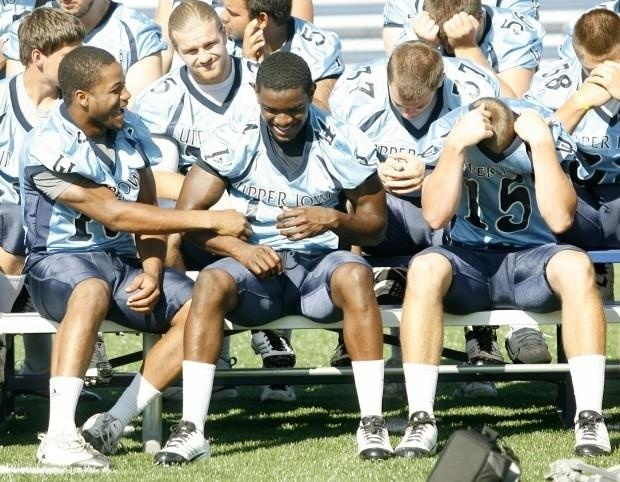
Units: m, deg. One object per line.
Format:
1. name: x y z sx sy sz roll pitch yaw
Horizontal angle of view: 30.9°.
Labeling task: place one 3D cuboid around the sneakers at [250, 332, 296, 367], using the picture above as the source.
1. sneakers: -0.194 0.518 5.623 0.102 0.148 0.300 -11 11 -26

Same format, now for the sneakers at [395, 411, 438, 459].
1. sneakers: 0.465 0.772 4.597 0.114 0.179 0.250 -4 -6 41

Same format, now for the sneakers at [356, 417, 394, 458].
1. sneakers: 0.269 0.787 4.596 0.144 0.166 0.206 0 -5 1

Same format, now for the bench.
1. bench: -0.011 -0.020 5.077 2.036 1.918 0.444 2 8 13

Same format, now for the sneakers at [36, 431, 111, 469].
1. sneakers: -0.955 0.827 4.533 0.303 0.141 0.121 3 7 11

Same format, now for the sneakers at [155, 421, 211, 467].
1. sneakers: -0.516 0.799 4.557 0.157 0.172 0.192 -3 -5 27

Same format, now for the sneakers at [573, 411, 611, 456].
1. sneakers: 1.132 0.758 4.520 0.146 0.176 0.118 -2 -5 23
